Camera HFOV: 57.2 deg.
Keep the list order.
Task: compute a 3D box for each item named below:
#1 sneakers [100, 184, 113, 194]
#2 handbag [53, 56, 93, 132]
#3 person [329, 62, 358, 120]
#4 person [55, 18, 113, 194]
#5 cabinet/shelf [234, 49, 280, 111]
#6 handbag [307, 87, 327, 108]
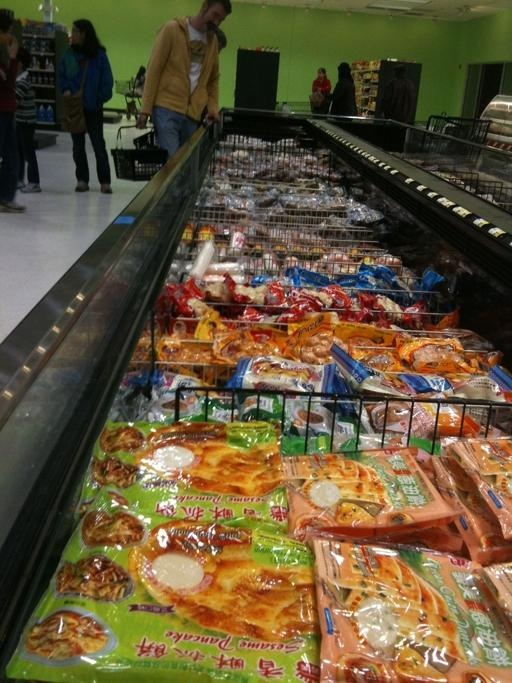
[{"bbox_3d":[-2.108,-2.159,6.627,0.134,0.156,0.398,-7,20,-16],"label":"sneakers"},{"bbox_3d":[-2.183,-2.992,5.734,0.298,0.811,0.227,3,25,-12],"label":"handbag"},{"bbox_3d":[1.570,-4.419,8.195,0.430,0.876,1.089,6,24,6],"label":"person"},{"bbox_3d":[-2.111,-2.896,5.903,0.615,2.047,1.017,-5,25,-19],"label":"person"},{"bbox_3d":[0.019,-4.064,7.261,0.654,0.827,0.395,3,23,-1],"label":"cabinet/shelf"},{"bbox_3d":[1.449,-5.709,11.005,0.326,0.415,0.747,5,24,4],"label":"handbag"}]
